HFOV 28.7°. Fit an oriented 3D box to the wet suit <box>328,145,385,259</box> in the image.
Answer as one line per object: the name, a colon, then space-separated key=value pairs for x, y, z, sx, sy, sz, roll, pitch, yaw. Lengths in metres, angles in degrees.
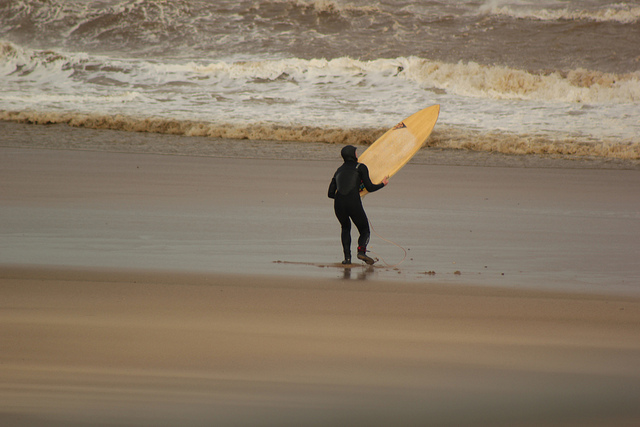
wet suit: x=0.814 y=-0.258 z=28.983 sx=0.847 sy=2.500 sz=1.143 roll=-9 pitch=21 yaw=-33
